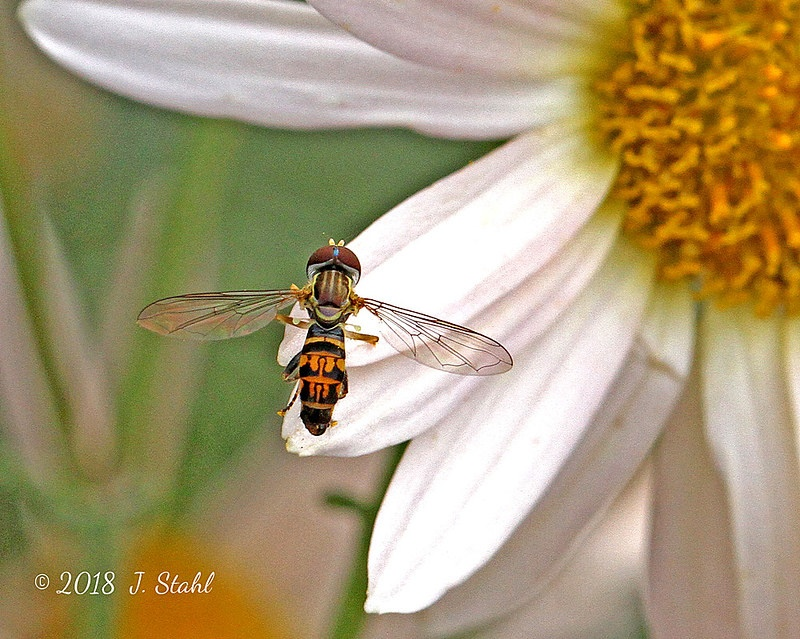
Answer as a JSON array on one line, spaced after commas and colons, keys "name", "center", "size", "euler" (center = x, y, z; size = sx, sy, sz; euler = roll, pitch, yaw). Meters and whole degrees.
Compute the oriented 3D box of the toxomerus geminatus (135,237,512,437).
[{"name": "toxomerus geminatus", "center": [-0.096, 0.018, 0.938], "size": [0.361, 0.090, 0.196], "euler": [15, 73, -25]}]
